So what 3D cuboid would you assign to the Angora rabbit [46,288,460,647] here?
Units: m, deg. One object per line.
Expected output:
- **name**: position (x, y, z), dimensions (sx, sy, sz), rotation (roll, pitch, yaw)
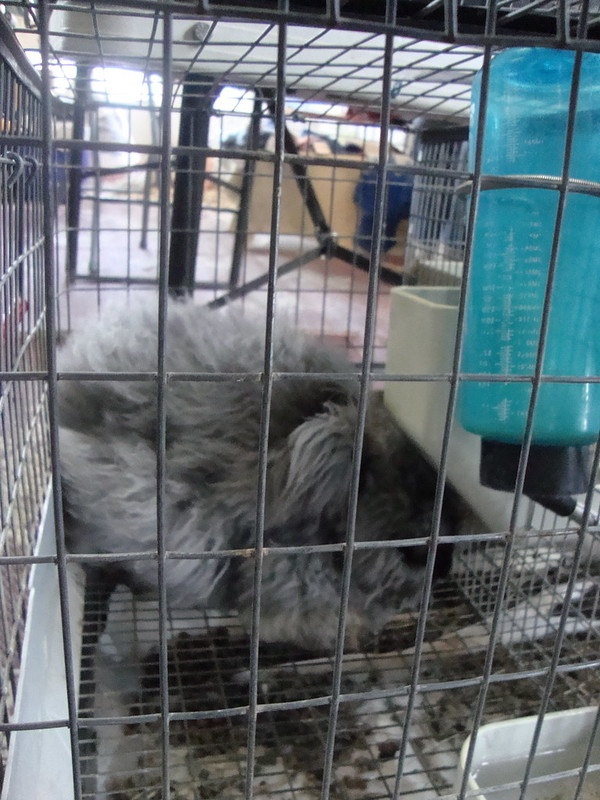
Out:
- **Angora rabbit**: position (-0.131, 0.118, 1.016), dimensions (0.368, 0.586, 0.311), rotation (-13, -55, -42)
